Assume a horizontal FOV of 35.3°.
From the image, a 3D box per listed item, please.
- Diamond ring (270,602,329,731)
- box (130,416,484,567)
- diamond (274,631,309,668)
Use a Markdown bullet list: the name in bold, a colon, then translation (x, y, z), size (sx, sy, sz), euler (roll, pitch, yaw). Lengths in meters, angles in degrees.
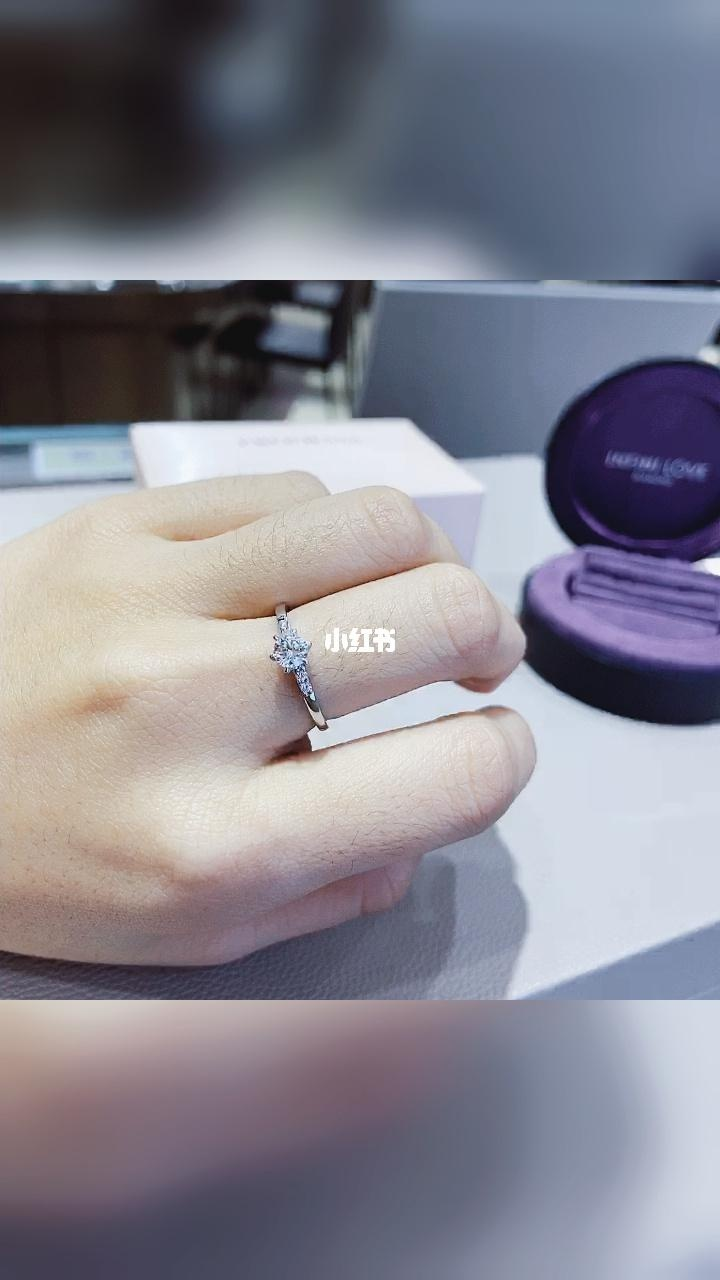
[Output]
- **Diamond ring**: translation (-0.026, 0.013, 0.488), size (0.016, 0.046, 0.041), euler (-27, 74, -5)
- **box**: translation (-0.041, -0.105, 0.826), size (0.238, 0.097, 0.168), euler (-6, 26, -12)
- **diamond**: translation (-0.030, 0.006, 0.484), size (0.013, 0.016, 0.013), euler (-15, 30, -28)
